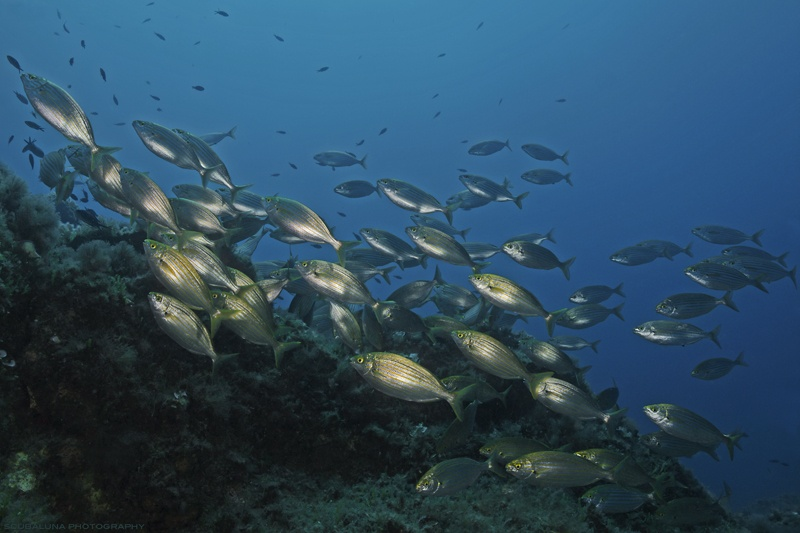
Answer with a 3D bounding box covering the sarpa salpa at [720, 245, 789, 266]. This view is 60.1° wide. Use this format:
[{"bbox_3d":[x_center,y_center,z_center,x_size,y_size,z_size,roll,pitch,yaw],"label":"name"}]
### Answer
[{"bbox_3d":[7.437,-0.198,14.705,1.374,0.255,0.408,10,40,43],"label":"sarpa salpa"}]
